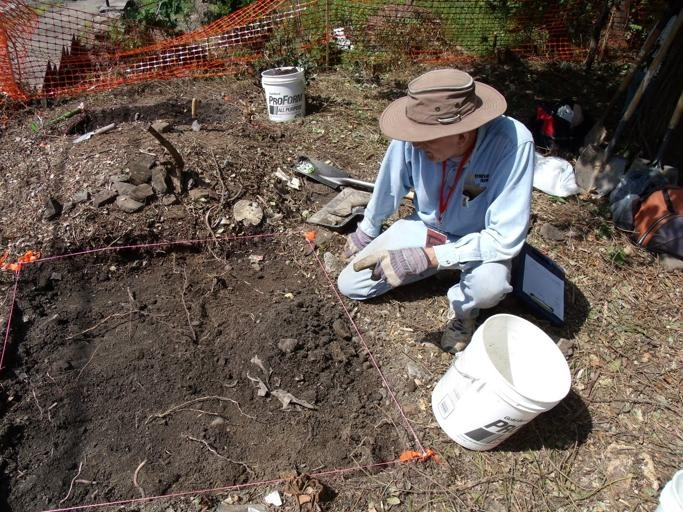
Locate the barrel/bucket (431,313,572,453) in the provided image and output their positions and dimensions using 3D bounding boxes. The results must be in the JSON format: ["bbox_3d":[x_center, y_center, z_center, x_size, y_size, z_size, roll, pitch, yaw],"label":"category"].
[{"bbox_3d":[1.124,0.965,4.160,0.705,0.788,0.700,17,40,-15],"label":"barrel/bucket"}]

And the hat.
[{"bbox_3d":[0.678,-1.022,3.946,0.645,0.203,0.641,-4,44,23],"label":"hat"}]

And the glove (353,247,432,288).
[{"bbox_3d":[0.389,0.070,4.351,0.617,0.201,0.356,-11,35,28],"label":"glove"}]

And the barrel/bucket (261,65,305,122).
[{"bbox_3d":[-0.611,-1.780,6.288,0.528,0.497,0.518,-1,24,0],"label":"barrel/bucket"}]

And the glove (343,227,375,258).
[{"bbox_3d":[0.123,-0.106,4.836,0.354,0.156,0.128,-34,78,-16],"label":"glove"}]

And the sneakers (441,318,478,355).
[{"bbox_3d":[0.933,0.590,4.565,0.209,0.170,0.424,14,52,16],"label":"sneakers"}]
